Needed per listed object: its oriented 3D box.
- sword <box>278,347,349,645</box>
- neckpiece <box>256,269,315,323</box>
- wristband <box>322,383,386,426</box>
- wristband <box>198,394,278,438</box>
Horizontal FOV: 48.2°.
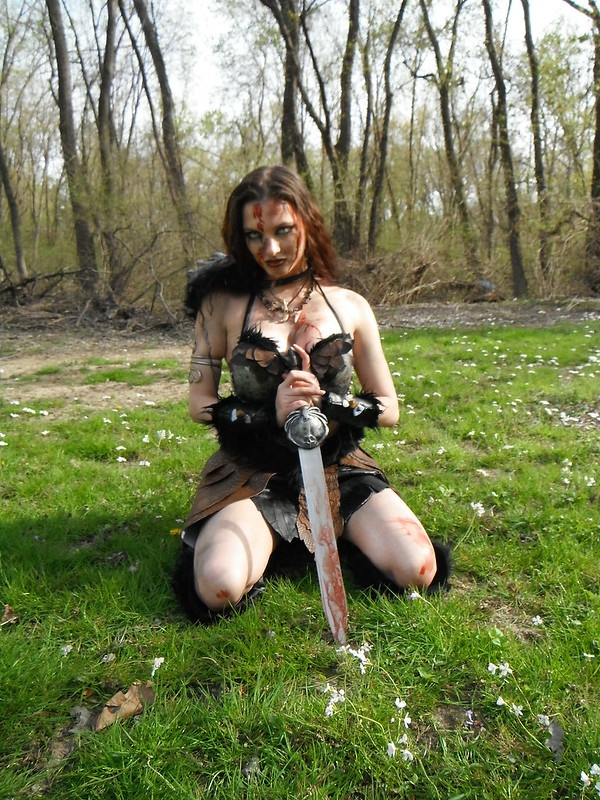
[{"bbox_3d":[0.035,0.390,2.316,0.192,0.826,0.130,-5,-18,-10],"label":"sword"},{"bbox_3d":[-0.051,-0.474,2.867,0.212,0.064,0.264,10,35,31],"label":"neckpiece"},{"bbox_3d":[0.206,0.017,2.652,0.223,0.071,0.137,5,-3,-25],"label":"wristband"},{"bbox_3d":[-0.234,0.061,2.652,0.225,0.145,0.103,10,-1,18],"label":"wristband"}]
